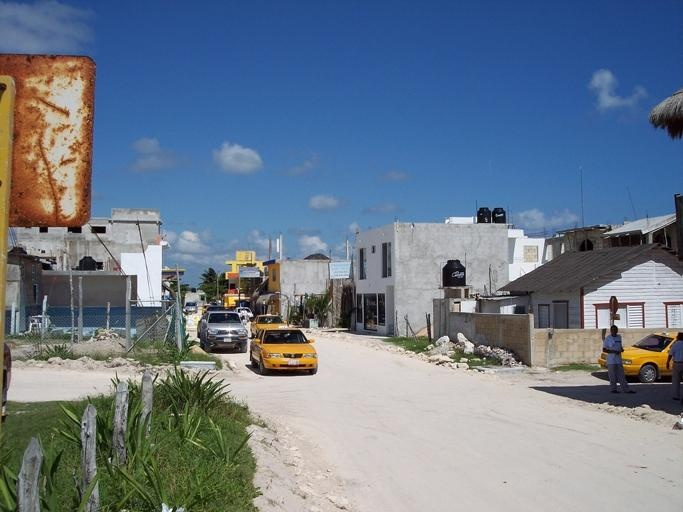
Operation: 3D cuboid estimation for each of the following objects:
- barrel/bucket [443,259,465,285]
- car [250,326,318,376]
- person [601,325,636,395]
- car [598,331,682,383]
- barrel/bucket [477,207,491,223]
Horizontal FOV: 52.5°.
[{"bbox_3d":[6.418,0.989,39.790,0.837,1.557,1.414,4,-7,-26],"label":"barrel/bucket"},{"bbox_3d":[-1.930,3.194,23.487,1.768,1.567,2.861,3,-7,-19],"label":"car"},{"bbox_3d":[8.096,2.996,20.339,0.743,1.939,1.283,-1,-6,22],"label":"person"},{"bbox_3d":[9.391,3.272,22.418,2.897,1.118,1.498,1,-4,-10],"label":"car"},{"bbox_3d":[10.237,-2.929,49.851,0.905,1.024,0.594,-1,-6,17],"label":"barrel/bucket"}]
